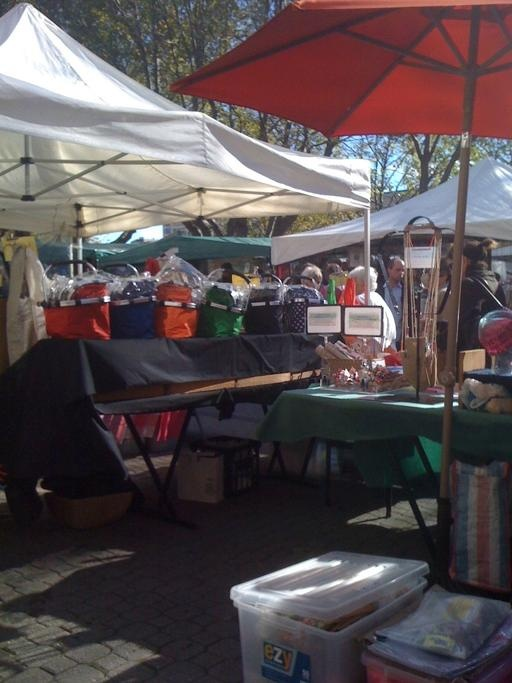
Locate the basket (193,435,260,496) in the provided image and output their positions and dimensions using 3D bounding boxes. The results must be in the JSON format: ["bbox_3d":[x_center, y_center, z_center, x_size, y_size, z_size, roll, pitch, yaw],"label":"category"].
[{"bbox_3d":[-0.258,0.882,4.485,0.414,0.322,0.484,1,1,30],"label":"basket"}]

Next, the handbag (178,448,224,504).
[{"bbox_3d":[-0.379,0.968,4.353,0.389,0.332,0.223,-4,-5,32],"label":"handbag"}]
